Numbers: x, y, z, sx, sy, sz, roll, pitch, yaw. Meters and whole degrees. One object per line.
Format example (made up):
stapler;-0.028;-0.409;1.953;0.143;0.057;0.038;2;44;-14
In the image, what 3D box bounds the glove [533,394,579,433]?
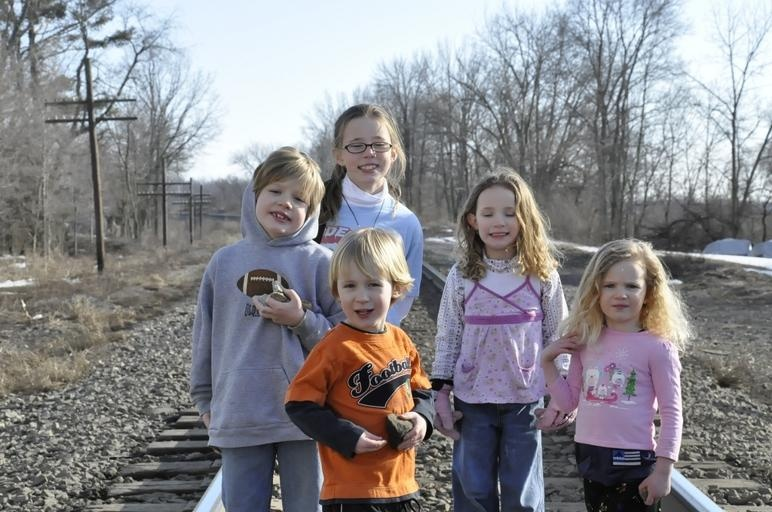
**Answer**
glove;1.360;1.327;5.393;0.243;0.124;0.325;-6;5;-9
